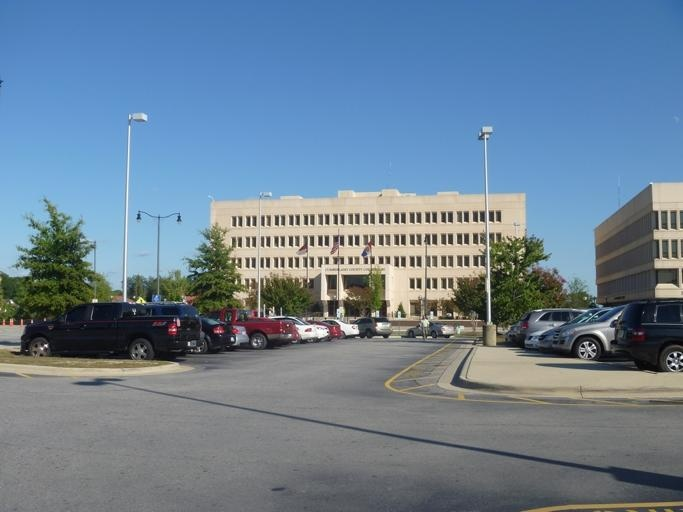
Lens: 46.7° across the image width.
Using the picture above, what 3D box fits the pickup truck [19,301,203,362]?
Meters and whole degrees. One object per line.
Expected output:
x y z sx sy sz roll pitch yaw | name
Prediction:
-7.728 2.648 26.854 5.832 1.837 2.508 0 -5 11 | pickup truck
